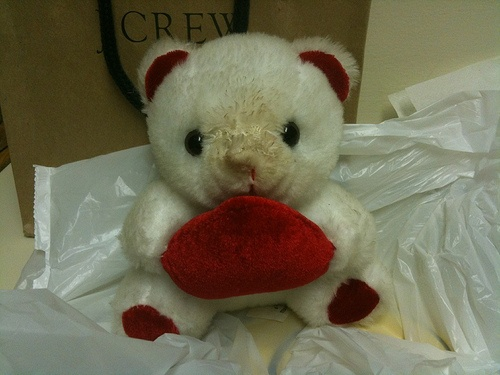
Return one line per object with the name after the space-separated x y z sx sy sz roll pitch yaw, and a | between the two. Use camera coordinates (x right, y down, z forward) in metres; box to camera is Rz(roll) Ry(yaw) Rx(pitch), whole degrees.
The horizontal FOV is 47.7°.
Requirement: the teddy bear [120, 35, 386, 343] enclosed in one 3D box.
-0.013 0.009 0.848 0.379 0.457 0.262 -4 16 -9 | teddy bear
